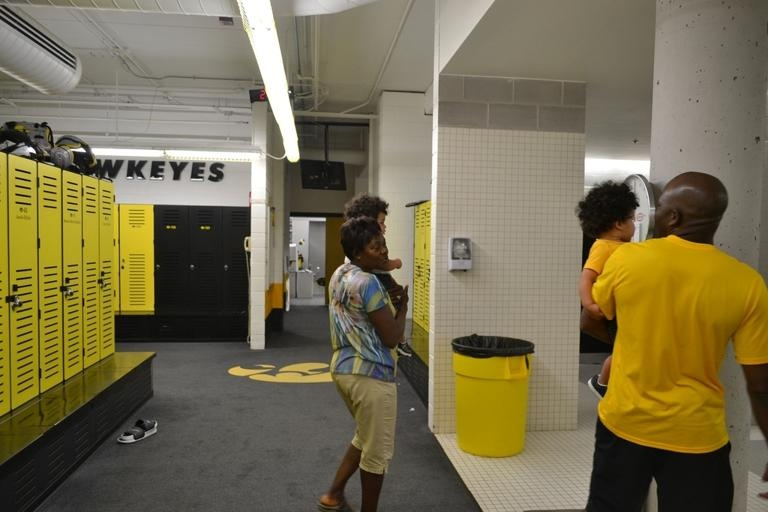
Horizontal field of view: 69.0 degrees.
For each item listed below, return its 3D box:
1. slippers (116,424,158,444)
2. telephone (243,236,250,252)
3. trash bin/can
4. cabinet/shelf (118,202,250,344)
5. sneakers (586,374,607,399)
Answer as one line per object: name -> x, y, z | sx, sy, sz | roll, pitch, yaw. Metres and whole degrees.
slippers -> -2.360, 1.688, 5.343 | 0.123, 0.118, 0.337 | -1, -8, 24
telephone -> -2.220, -0.192, 9.101 | 0.088, 0.246, 0.317 | -2, 6, -19
trash bin/can -> 1.112, 1.257, 5.497 | 0.955, 1.135, 1.026 | 1, 0, -5
cabinet/shelf -> -3.356, 0.298, 9.174 | 2.414, 2.148, 0.831 | 0, -1, -5
sneakers -> 1.397, 0.851, 3.712 | 0.093, 0.107, 0.261 | 29, 5, 11
